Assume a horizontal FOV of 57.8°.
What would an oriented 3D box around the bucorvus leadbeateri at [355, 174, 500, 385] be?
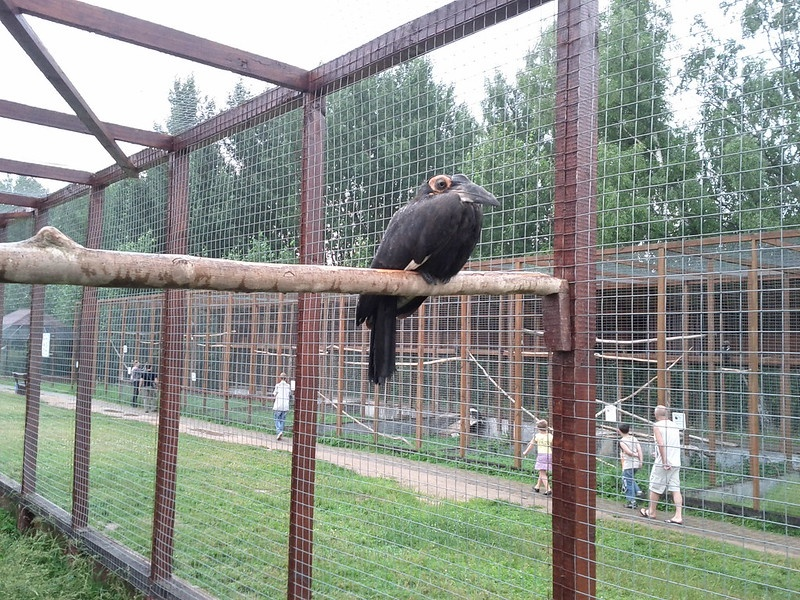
[{"bbox_3d":[0.133,-0.176,4.925,0.584,1.469,0.997,9,-11,-41],"label":"bucorvus leadbeateri"}]
